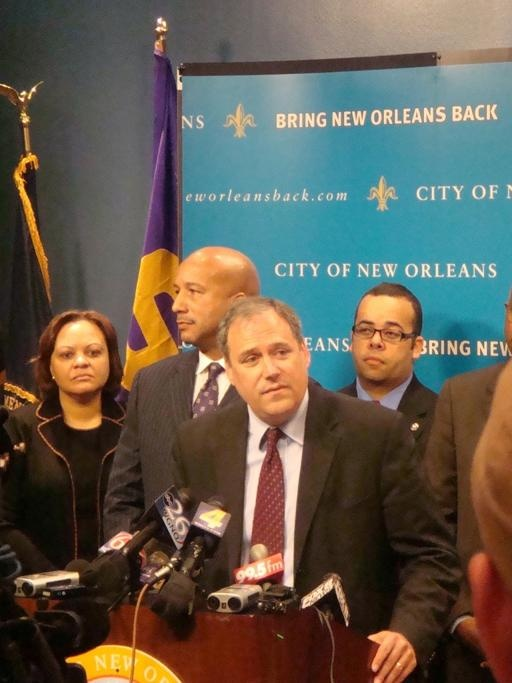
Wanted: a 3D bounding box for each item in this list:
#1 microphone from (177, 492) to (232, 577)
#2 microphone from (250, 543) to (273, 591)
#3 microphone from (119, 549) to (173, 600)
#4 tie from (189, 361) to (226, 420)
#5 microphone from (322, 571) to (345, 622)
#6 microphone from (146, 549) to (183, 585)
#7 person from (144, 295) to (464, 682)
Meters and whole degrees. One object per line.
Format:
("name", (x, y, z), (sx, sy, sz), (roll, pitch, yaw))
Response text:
("microphone", (-0.121, 0.420, 1.469), (0.124, 0.124, 0.085), (2, 5, -42))
("microphone", (0.005, 0.485, 1.499), (0.056, 0.062, 0.030), (0, -27, 4))
("microphone", (-0.222, 0.501, 1.522), (0.120, 0.032, 0.088), (-42, 26, -30))
("tie", (-0.192, 0.213, 3.005), (0.144, 0.079, 0.404), (3, 25, -7))
("microphone", (0.177, 0.544, 1.478), (0.029, 0.089, 0.057), (-17, -5, 11))
("microphone", (-0.188, 0.476, 1.463), (0.058, 0.056, 0.124), (5, 3, 4))
("person", (0.154, 0.408, 2.092), (0.916, 1.053, 0.544), (7, 5, 36))
